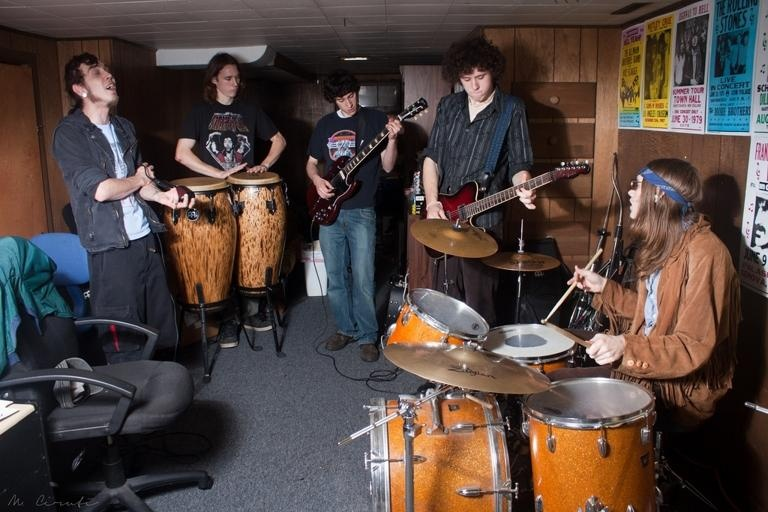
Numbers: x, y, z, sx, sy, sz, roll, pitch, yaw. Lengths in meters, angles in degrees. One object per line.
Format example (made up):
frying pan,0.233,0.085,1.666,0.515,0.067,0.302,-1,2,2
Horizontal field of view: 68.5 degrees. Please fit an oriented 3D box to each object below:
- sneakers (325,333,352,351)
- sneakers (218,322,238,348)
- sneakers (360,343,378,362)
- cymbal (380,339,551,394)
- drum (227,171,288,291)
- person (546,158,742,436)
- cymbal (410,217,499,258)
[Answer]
sneakers,-0.366,0.691,4.511,0.106,0.083,0.211,4,6,38
sneakers,-1.291,0.659,4.718,0.089,0.113,0.304,1,19,-4
sneakers,-0.106,0.734,4.300,0.146,0.114,0.137,0,9,-3
cymbal,0.346,0.472,2.380,0.373,0.085,0.373,14,10,-16
drum,-0.898,-0.232,4.626,0.715,1.052,0.792,0,11,-12
person,1.299,0.364,2.865,0.874,1.552,0.862,1,4,24
cymbal,0.391,-0.095,3.099,0.296,0.062,0.297,7,35,-14
